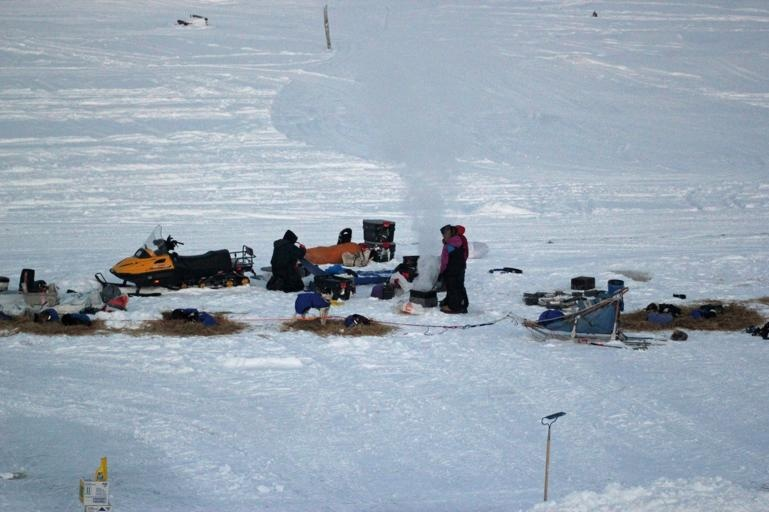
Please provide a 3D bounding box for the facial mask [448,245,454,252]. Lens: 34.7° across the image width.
[{"bbox_3d":[3.531,-0.410,64.231,0.321,0.311,0.032,-1,4,1],"label":"facial mask"}]
